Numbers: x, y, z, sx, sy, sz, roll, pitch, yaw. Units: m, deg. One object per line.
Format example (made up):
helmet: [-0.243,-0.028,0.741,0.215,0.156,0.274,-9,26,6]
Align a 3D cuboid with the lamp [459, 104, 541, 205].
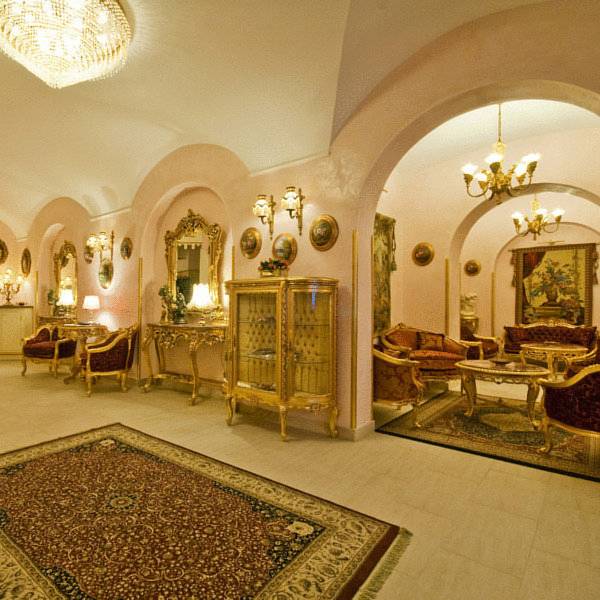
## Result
lamp: [2.511,-2.000,5.966,0.988,1.334,0.900,-1,7,20]

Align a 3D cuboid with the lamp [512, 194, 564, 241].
lamp: [4.353,-1.602,8.741,0.920,1.036,0.896,0,-1,30]

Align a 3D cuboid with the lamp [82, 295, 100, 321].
lamp: [-3.487,0.156,7.954,0.250,0.515,0.912,-4,9,-23]

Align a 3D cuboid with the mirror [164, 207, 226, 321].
mirror: [-1.455,-0.465,6.665,1.644,2.050,0.164,1,1,39]

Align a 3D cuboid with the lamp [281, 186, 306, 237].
lamp: [-0.078,-1.001,5.180,0.239,0.511,0.179,3,3,-11]

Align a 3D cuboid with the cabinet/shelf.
cabinet/shelf: [-0.153,0.591,4.931,1.622,1.807,0.714,-1,-3,39]

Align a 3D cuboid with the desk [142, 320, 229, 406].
desk: [-1.675,0.840,6.664,1.564,0.954,0.619,0,-2,33]

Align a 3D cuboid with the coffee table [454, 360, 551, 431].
coffee table: [2.359,1.061,5.549,0.975,0.637,0.815,2,3,26]

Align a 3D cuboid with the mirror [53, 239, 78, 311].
mirror: [-4.625,-0.466,9.362,1.435,1.678,0.115,-1,-3,43]

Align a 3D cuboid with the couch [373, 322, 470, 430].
couch: [1.622,0.898,6.525,1.004,1.154,1.878,4,6,40]

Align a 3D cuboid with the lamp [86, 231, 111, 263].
lamp: [-3.422,-0.899,8.016,0.295,0.523,0.814,-7,10,-40]

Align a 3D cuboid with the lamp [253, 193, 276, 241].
lamp: [-0.431,-0.963,5.448,0.251,0.492,0.178,2,2,-23]
